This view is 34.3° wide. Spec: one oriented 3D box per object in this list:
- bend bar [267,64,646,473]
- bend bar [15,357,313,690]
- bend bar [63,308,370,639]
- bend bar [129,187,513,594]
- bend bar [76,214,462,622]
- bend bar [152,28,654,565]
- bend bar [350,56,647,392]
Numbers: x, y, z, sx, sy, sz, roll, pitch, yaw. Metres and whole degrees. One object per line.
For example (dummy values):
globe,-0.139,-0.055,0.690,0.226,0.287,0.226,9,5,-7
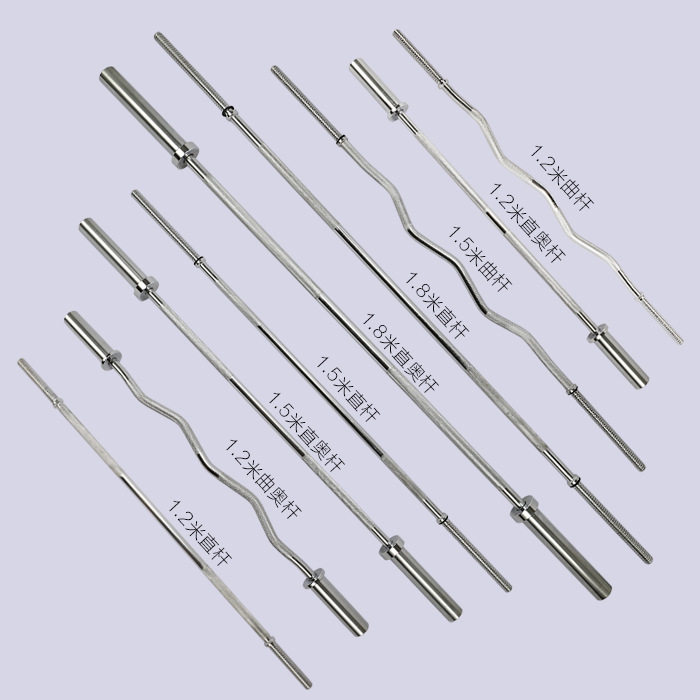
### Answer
bend bar,0.203,-0.097,2.766,0.125,1.647,0.080,-41,-8,-16
bend bar,-0.285,0.351,2.702,0.053,1.264,0.081,-39,-10,-11
bend bar,-0.207,0.289,2.731,0.113,1.243,0.085,-39,-12,-13
bend bar,-0.046,0.142,2.747,0.118,1.693,0.083,-53,-10,34
bend bar,-0.127,0.182,2.785,0.128,1.563,0.106,-42,-7,3
bend bar,0.090,0.003,2.794,0.054,2.166,0.056,-41,-1,3
bend bar,0.299,-0.203,2.749,0.103,1.294,0.094,-40,-4,6
